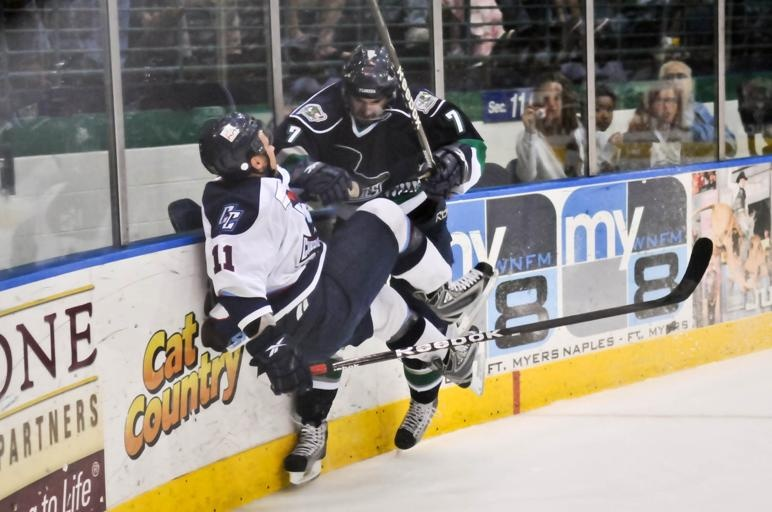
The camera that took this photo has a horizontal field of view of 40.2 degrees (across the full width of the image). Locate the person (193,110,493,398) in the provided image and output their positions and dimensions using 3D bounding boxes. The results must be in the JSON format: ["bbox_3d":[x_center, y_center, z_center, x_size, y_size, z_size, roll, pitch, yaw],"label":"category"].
[{"bbox_3d":[-0.413,-0.294,6.113,1.525,1.727,1.118,-22,31,-14],"label":"person"}]

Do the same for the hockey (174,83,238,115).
[{"bbox_3d":[-0.934,-0.851,5.565,0.255,0.148,0.052,-2,2,-40],"label":"hockey"}]

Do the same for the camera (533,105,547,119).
[{"bbox_3d":[0.935,-0.891,6.379,0.077,0.074,0.119,4,10,7],"label":"camera"}]

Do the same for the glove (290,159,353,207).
[{"bbox_3d":[-0.343,-0.409,5.462,0.249,0.217,0.111,4,-24,12],"label":"glove"}]

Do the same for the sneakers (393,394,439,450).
[{"bbox_3d":[0.169,0.958,6.034,0.130,0.178,0.407,27,62,9],"label":"sneakers"}]

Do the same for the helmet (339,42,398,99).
[{"bbox_3d":[-0.086,-1.020,5.648,0.240,0.274,0.308,-2,19,0],"label":"helmet"}]

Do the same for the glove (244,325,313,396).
[{"bbox_3d":[-0.549,0.541,5.452,0.311,0.373,0.110,-37,8,-8],"label":"glove"}]

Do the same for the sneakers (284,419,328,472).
[{"bbox_3d":[-0.436,1.036,5.740,0.115,0.159,0.364,3,13,13],"label":"sneakers"}]
